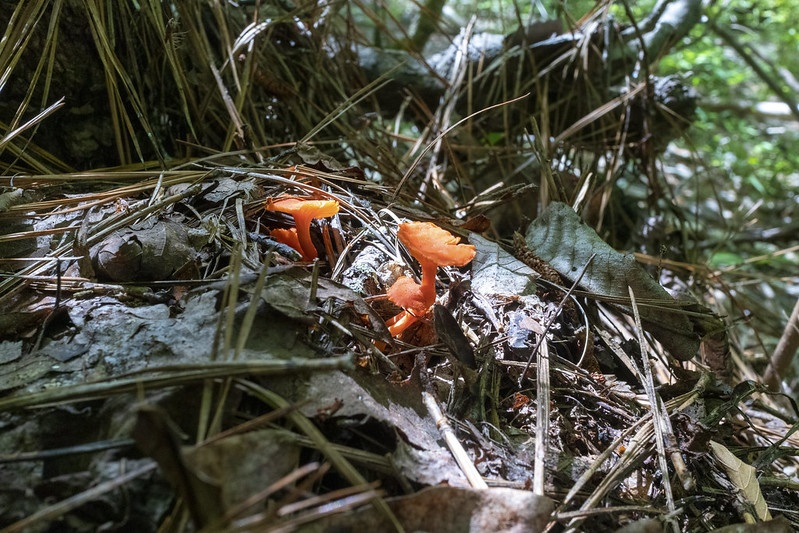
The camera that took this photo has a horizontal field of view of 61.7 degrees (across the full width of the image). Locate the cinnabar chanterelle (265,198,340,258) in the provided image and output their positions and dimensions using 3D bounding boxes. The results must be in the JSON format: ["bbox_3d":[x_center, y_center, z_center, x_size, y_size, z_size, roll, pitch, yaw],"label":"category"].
[{"bbox_3d":[-0.494,-0.253,3.284,0.348,0.306,0.253,28,46,5],"label":"cinnabar chanterelle"}]

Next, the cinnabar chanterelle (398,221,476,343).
[{"bbox_3d":[0.156,0.035,3.301,0.435,0.583,0.441,10,15,-17],"label":"cinnabar chanterelle"}]
